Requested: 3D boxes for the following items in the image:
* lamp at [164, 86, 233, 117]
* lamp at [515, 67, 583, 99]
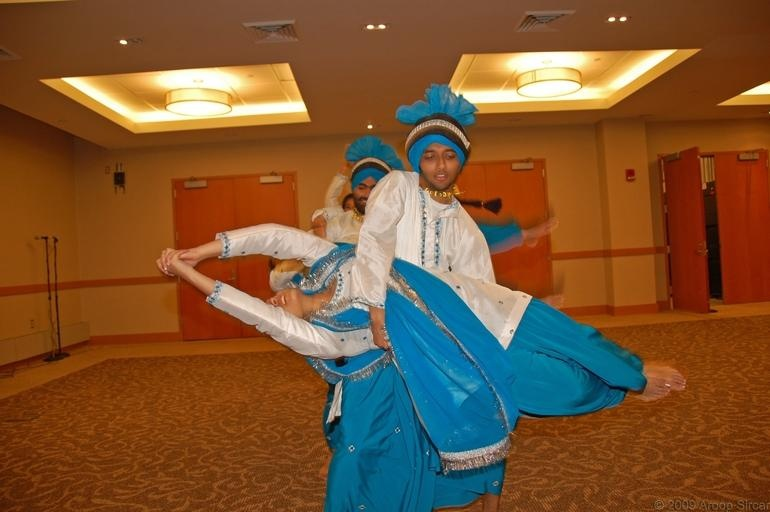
[{"bbox_3d":[-2.943,-2.463,8.769,0.966,0.376,0.665,-6,11,-19],"label":"lamp"},{"bbox_3d":[2.614,-2.785,8.908,0.975,0.206,0.960,-1,0,21],"label":"lamp"}]
